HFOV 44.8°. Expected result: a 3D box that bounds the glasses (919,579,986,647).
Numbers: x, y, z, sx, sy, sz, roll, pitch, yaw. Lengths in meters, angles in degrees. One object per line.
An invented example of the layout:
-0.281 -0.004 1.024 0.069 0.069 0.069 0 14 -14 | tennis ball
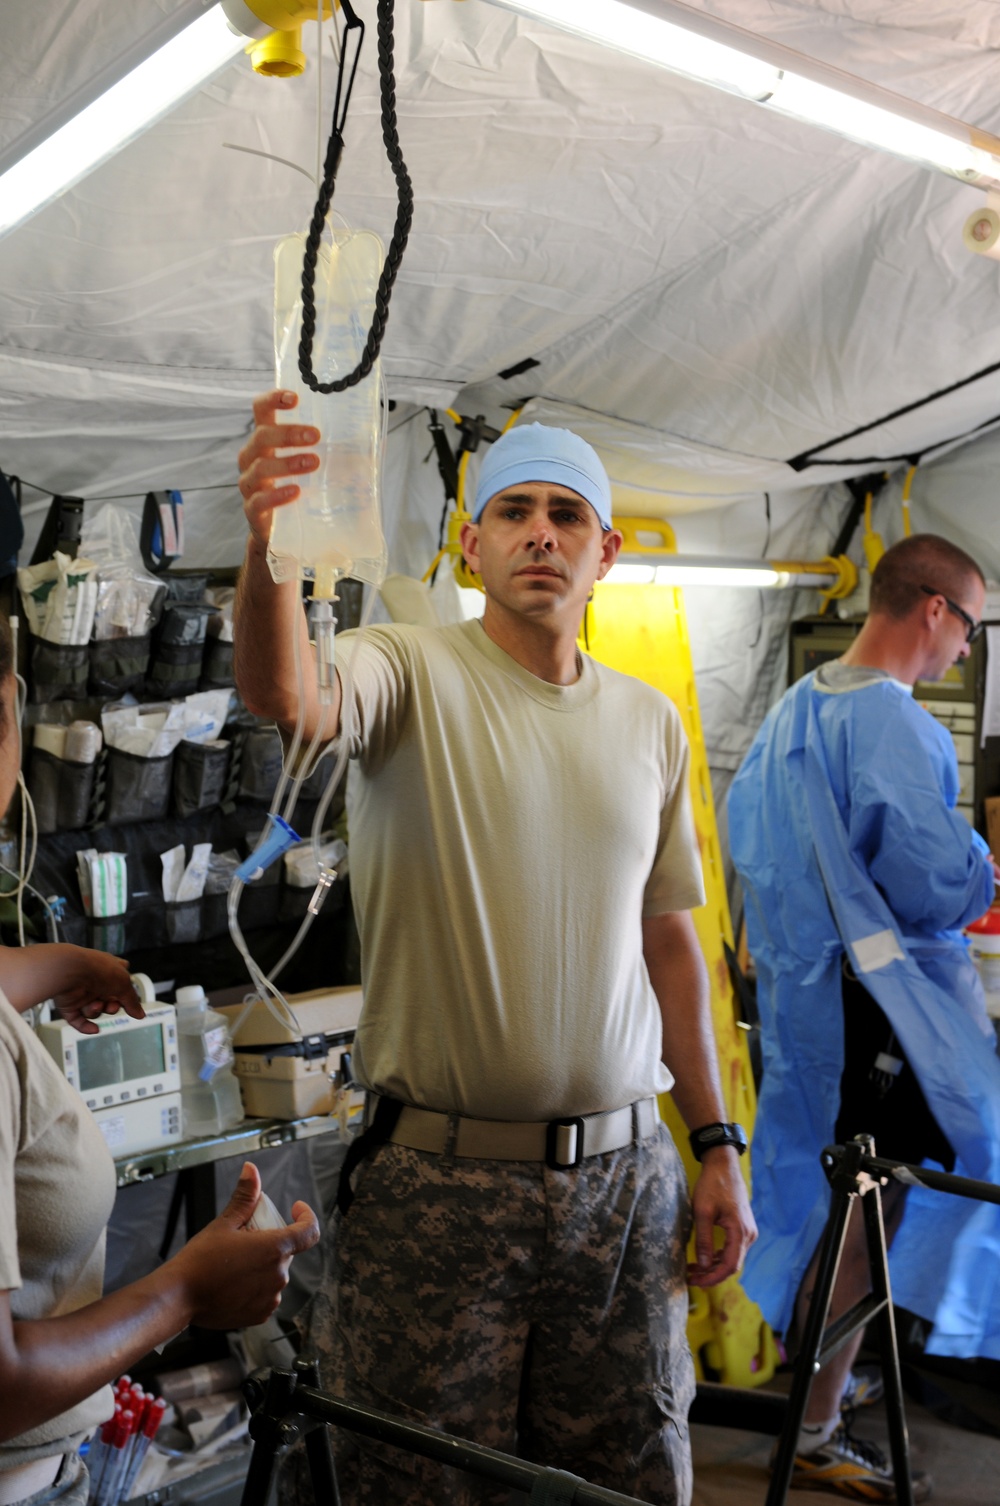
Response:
1.189 -0.376 3.193 0.151 0.045 0.155 30 0 43 | glasses

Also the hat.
0.070 -0.437 1.897 0.180 0.177 0.141 0 42 5 | hat

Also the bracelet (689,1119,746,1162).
0.321 0.591 1.858 0.089 0.052 0.088 12 -24 -22 | bracelet
